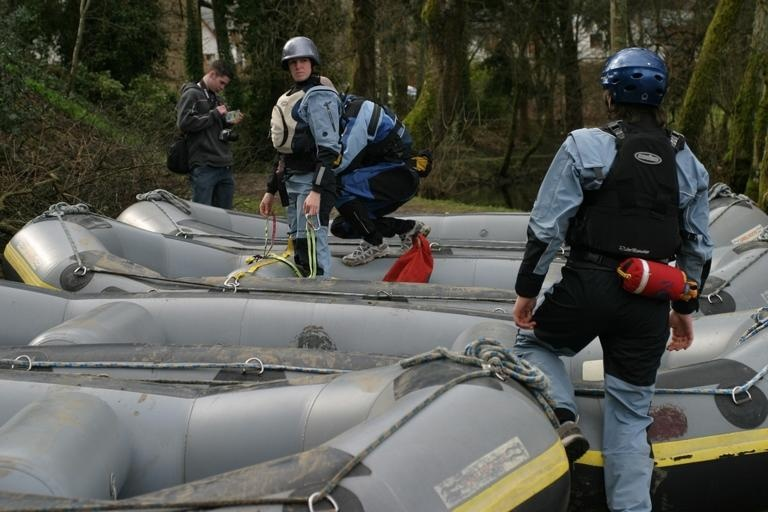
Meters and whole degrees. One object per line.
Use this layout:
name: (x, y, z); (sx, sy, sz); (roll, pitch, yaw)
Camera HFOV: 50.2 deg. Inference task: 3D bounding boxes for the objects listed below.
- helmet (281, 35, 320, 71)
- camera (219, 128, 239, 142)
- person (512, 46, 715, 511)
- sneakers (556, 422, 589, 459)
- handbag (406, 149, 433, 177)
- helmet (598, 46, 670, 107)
helmet: (-0.794, -1.922, 7.802); (0.290, 0.259, 0.334); (-1, 15, 6)
camera: (-1.830, -1.412, 9.695); (0.170, 0.109, 0.174); (0, 7, 7)
person: (1.596, 0.118, 5.636); (0.934, 2.871, 1.167); (13, 25, 40)
sneakers: (1.257, 1.204, 5.464); (0.163, 0.267, 0.110); (-32, 30, 17)
handbag: (0.372, -0.969, 8.600); (0.279, 0.216, 0.220); (2, 25, 0)
helmet: (1.714, -1.284, 5.705); (0.341, 0.353, 0.455); (-1, 31, -4)
